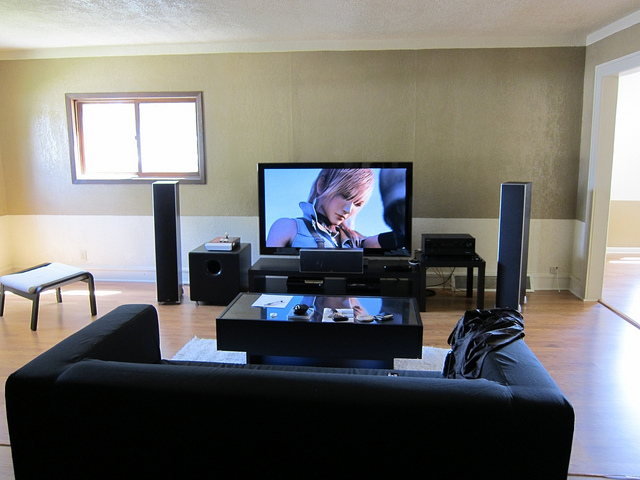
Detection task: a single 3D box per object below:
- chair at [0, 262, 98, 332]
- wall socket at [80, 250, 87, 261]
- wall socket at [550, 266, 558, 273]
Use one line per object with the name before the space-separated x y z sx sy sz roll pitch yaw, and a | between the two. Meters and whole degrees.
chair | -2.582 0.426 4.961 0.685 0.482 0.686 9 11 34
wall socket | -2.830 0.184 6.283 0.083 0.129 0.013 4 4 17
wall socket | 2.568 0.322 5.765 0.078 0.068 0.018 2 -5 15
